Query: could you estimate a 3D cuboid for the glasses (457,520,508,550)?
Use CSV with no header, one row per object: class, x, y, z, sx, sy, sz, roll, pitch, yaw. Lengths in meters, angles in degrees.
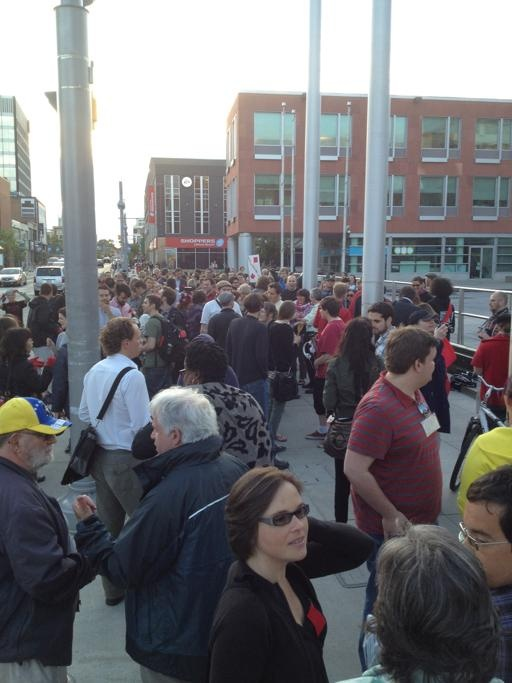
glasses,0.690,0.578,1.823,0.097,0.030,0.097,5,-3,-2
